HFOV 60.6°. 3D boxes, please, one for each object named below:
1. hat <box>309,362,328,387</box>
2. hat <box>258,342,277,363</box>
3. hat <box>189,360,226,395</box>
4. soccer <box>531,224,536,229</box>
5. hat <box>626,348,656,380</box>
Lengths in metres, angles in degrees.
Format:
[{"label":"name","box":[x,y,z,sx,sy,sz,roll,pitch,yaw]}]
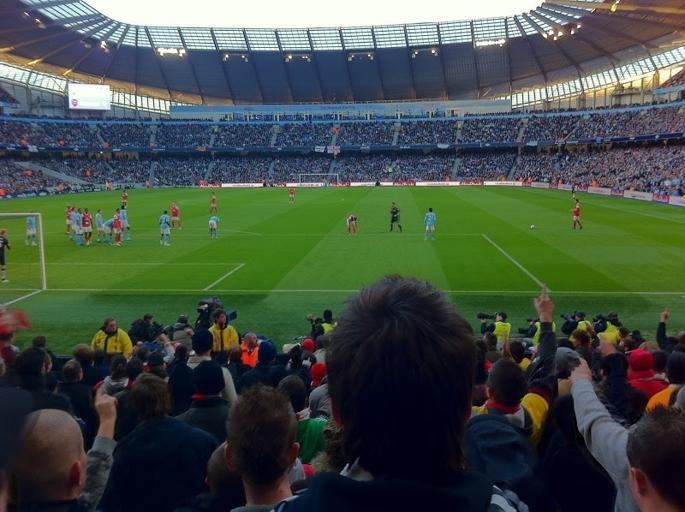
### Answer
[{"label":"hat","box":[-0.334,1.672,8.001,0.174,0.399,0.599,-1,2,-6]},{"label":"hat","box":[-1.023,1.277,7.900,0.211,0.201,0.313,2,30,-3]},{"label":"hat","box":[-1.453,1.296,6.327,0.304,0.347,0.385,0,9,-10]},{"label":"soccer","box":[10.216,-1.592,31.218,0.195,0.203,0.585,7,14,14]},{"label":"hat","box":[3.598,1.329,7.039,0.232,0.370,0.387,0,2,20]}]
